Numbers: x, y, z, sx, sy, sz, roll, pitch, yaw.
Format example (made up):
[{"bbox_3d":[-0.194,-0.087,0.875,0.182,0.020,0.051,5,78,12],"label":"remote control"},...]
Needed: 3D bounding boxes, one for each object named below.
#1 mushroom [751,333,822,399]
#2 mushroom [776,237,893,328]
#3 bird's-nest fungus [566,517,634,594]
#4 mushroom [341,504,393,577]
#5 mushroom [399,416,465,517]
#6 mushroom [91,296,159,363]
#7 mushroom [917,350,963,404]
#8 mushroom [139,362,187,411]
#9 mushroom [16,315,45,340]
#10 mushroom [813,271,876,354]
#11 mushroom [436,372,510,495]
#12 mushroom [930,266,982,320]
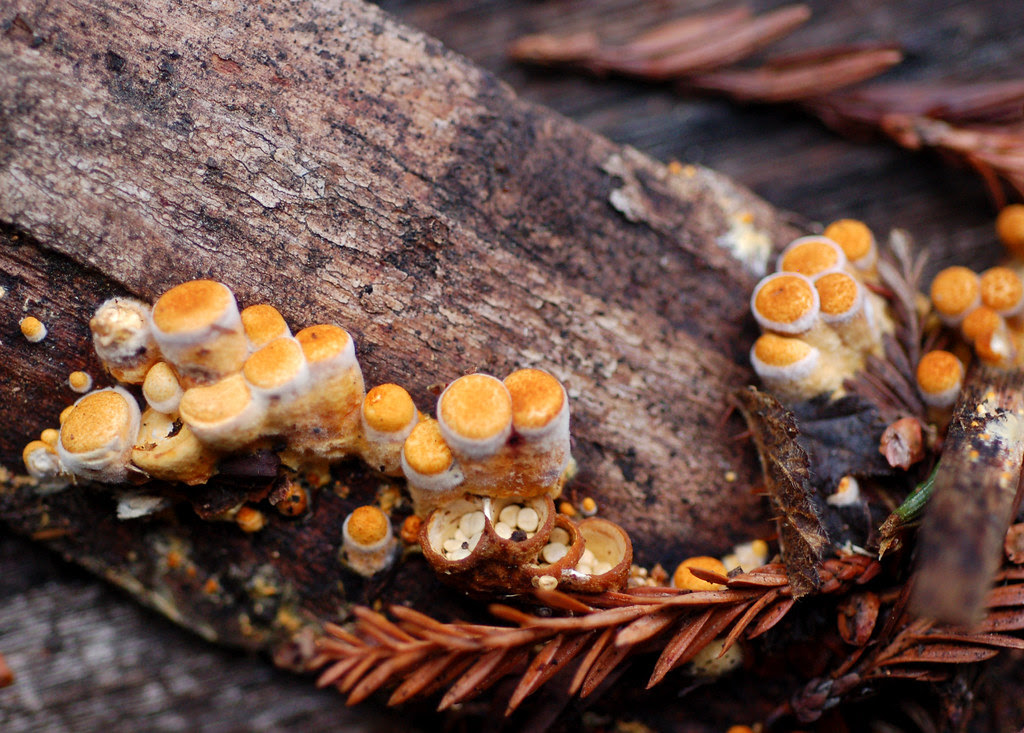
[{"bbox_3d":[1.426,-0.021,5.572,0.343,0.277,0.189,37,21,-12],"label":"mushroom"},{"bbox_3d":[1.685,-0.427,5.609,0.272,0.267,0.423,33,-5,40],"label":"mushroom"},{"bbox_3d":[0.438,0.944,5.307,0.321,0.224,0.380,20,38,-4],"label":"bird's-nest fungus"},{"bbox_3d":[-0.740,0.870,5.538,0.333,0.382,0.328,-8,59,-12],"label":"mushroom"},{"bbox_3d":[-0.387,0.476,5.245,0.291,0.447,0.252,-22,38,1],"label":"mushroom"},{"bbox_3d":[-1.949,-0.204,5.341,0.303,0.263,0.385,7,41,-20],"label":"mushroom"},{"bbox_3d":[2.245,0.061,5.588,0.254,0.304,0.253,-1,2,3],"label":"mushroom"},{"bbox_3d":[-1.713,0.111,5.204,0.182,0.235,0.130,-5,8,-11],"label":"mushroom"},{"bbox_3d":[-2.439,-0.183,5.425,0.130,0.119,0.079,26,38,4],"label":"mushroom"},{"bbox_3d":[1.723,-0.269,5.574,0.212,0.369,0.239,-3,54,32],"label":"mushroom"},{"bbox_3d":[-0.218,0.334,5.259,0.356,0.507,0.346,9,40,-17],"label":"mushroom"},{"bbox_3d":[2.341,-0.380,5.651,0.260,0.260,0.229,-13,-17,20],"label":"mushroom"}]
